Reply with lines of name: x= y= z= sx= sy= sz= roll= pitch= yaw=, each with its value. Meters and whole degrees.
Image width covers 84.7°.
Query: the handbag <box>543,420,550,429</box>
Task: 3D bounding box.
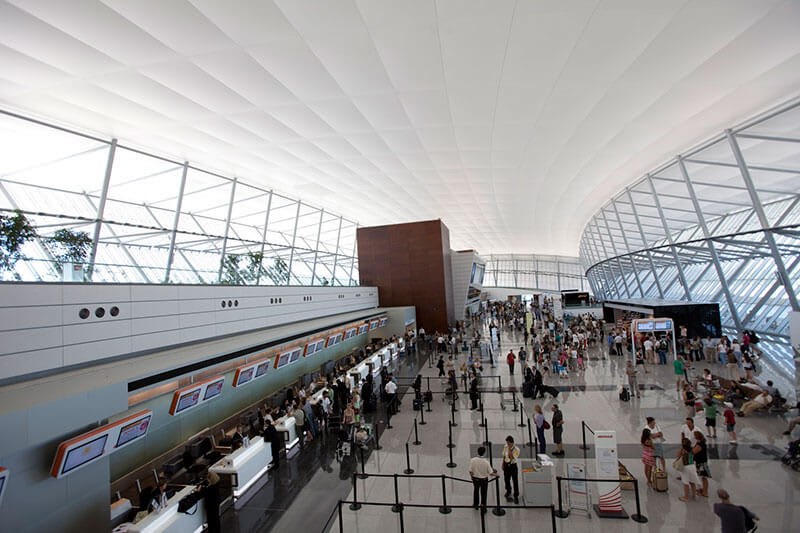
handbag: x=5.189 y=5.701 z=15.658 sx=0.305 sy=0.155 sz=0.427 roll=1 pitch=-2 yaw=7

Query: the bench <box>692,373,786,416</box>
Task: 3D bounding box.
bench: x=13.837 y=5.284 z=17.863 sx=2.507 sy=0.858 sz=2.283 roll=-1 pitch=1 yaw=-38

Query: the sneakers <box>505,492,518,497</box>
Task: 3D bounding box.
sneakers: x=3.457 y=7.120 z=13.604 sx=0.422 sy=0.162 sz=0.238 roll=-3 pitch=-4 yaw=17
